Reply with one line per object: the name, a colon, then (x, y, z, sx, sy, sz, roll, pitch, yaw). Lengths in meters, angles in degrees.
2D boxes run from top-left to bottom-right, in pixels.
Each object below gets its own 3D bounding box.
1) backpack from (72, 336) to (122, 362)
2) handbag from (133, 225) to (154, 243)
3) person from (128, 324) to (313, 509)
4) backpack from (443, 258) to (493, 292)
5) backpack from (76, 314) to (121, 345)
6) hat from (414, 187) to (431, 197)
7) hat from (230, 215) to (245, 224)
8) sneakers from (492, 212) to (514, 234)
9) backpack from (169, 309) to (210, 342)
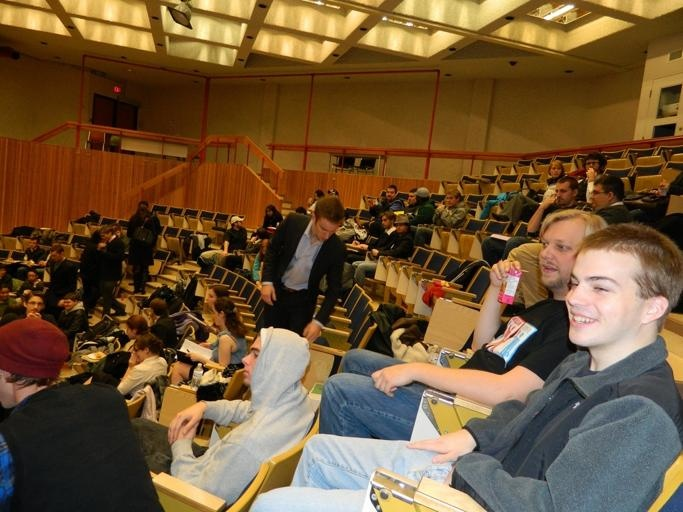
backpack: (-2.971, 1.117, 5.903, 0.459, 0.157, 0.455, 5, 8, 33)
handbag: (-3.713, -0.379, 9.220, 0.404, 0.285, 0.538, 6, 24, -17)
person: (-0.628, 0.807, 2.500, 0.709, 0.808, 0.465, 22, 25, 16)
backpack: (1.171, 0.153, 4.625, 0.377, 0.367, 0.281, -5, 9, -13)
backpack: (-3.286, 1.014, 6.647, 0.438, 0.169, 0.444, 13, 33, 43)
hat: (1.443, -1.097, 8.579, 0.247, 0.099, 0.179, 7, 46, -29)
hat: (-2.141, -0.738, 9.946, 0.345, 0.099, 0.235, -7, 9, 42)
sneakers: (2.260, -0.470, 6.905, 0.233, 0.377, 0.303, -5, -6, 43)
backpack: (-1.845, 0.852, 6.084, 0.404, 0.149, 0.389, 19, 12, -24)
